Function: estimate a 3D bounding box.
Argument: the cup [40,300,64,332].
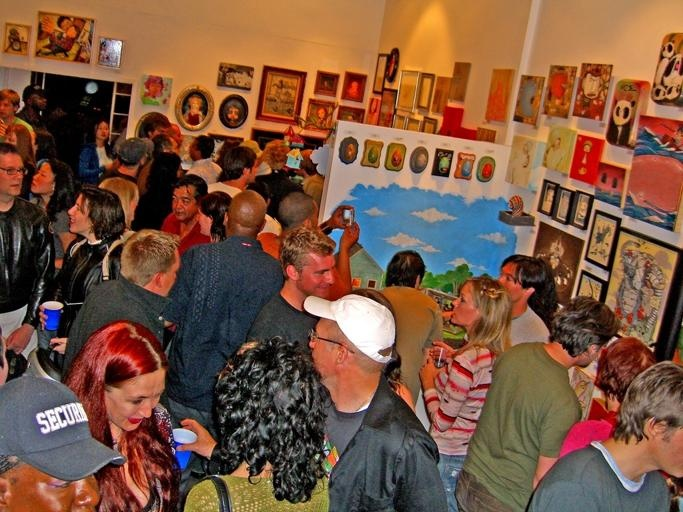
[{"bbox_3d":[-1.758,0.362,2.924,0.149,0.166,0.159,7,-2,0],"label":"cup"}]

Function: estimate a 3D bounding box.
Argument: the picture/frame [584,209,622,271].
[{"bbox_3d":[2.203,-0.132,3.941,0.036,0.548,0.457,7,5,-11],"label":"picture/frame"}]

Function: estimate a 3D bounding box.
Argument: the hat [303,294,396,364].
[{"bbox_3d":[0.052,0.258,2.013,0.357,0.189,0.250,30,33,-1],"label":"hat"}]

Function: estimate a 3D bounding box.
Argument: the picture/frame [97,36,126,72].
[{"bbox_3d":[-3.980,-3.471,8.074,0.497,0.626,0.081,8,8,-28],"label":"picture/frame"}]

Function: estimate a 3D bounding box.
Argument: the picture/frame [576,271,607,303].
[{"bbox_3d":[2.020,0.239,3.779,0.028,0.160,0.215,10,11,-12],"label":"picture/frame"}]

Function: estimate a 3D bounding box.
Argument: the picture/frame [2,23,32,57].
[{"bbox_3d":[-5.367,-3.551,7.729,0.505,0.674,0.043,0,5,-21],"label":"picture/frame"}]

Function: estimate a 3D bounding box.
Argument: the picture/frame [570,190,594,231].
[{"bbox_3d":[2.166,-0.413,4.219,0.044,0.355,0.280,4,13,-17],"label":"picture/frame"}]

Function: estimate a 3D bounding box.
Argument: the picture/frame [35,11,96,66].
[{"bbox_3d":[-4.662,-3.638,7.847,0.824,0.750,0.091,1,11,-11],"label":"picture/frame"}]

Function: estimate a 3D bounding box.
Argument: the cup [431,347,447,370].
[{"bbox_3d":[0.623,0.644,3.013,0.099,0.148,0.117,0,-10,0],"label":"cup"}]

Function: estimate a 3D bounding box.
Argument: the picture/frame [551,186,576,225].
[{"bbox_3d":[2.104,-0.481,4.441,0.038,0.327,0.273,4,19,-14],"label":"picture/frame"}]
